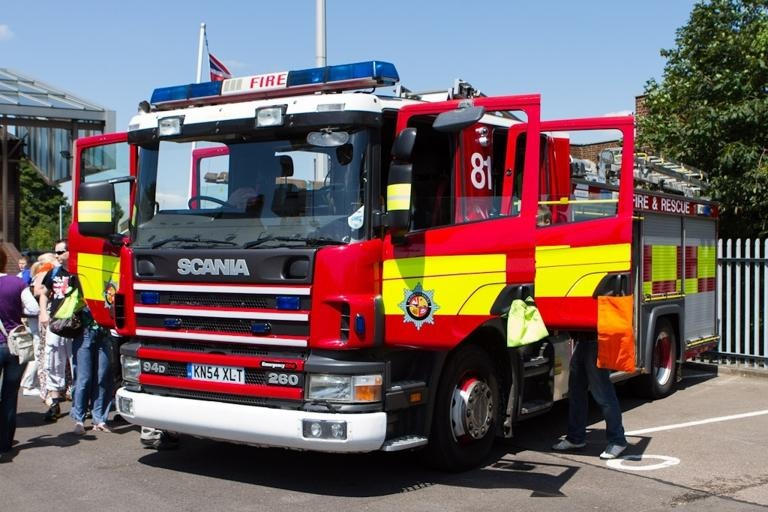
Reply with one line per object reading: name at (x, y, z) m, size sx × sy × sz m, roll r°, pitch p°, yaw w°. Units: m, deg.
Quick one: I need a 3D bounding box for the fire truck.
fire truck at (0.984, 0.181, 9.911) m, size 4.384 × 2.892 × 6.946 m, roll -3°, pitch -5°, yaw 45°

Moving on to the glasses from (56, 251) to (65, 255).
glasses at (-4.920, -0.044, 11.572) m, size 0.095 × 0.029 × 0.099 m, roll -7°, pitch -17°, yaw 25°

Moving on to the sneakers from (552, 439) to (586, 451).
sneakers at (2.330, 2.399, 9.703) m, size 0.438 × 0.181 × 0.161 m, roll 3°, pitch -3°, yaw 0°

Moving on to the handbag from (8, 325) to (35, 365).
handbag at (-4.456, 1.078, 9.353) m, size 0.151 × 0.478 × 0.398 m, roll 1°, pitch 4°, yaw 12°

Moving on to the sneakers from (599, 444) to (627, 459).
sneakers at (2.801, 2.372, 9.285) m, size 0.148 × 0.146 × 0.410 m, roll -13°, pitch -10°, yaw 40°

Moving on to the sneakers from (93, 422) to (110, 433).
sneakers at (-3.856, 2.349, 10.452) m, size 0.279 × 0.118 × 0.110 m, roll 1°, pitch -1°, yaw 14°
